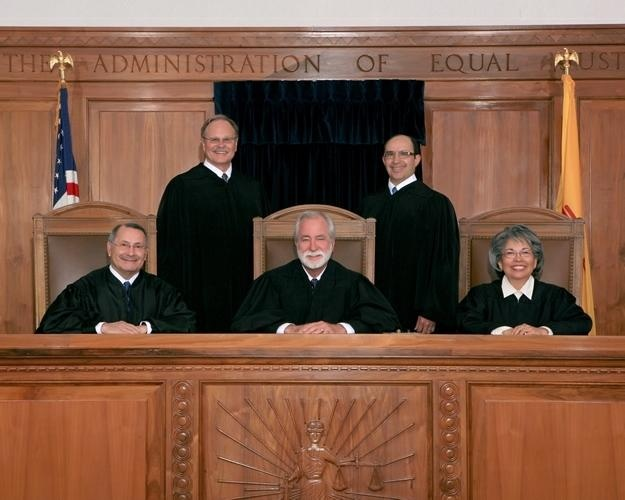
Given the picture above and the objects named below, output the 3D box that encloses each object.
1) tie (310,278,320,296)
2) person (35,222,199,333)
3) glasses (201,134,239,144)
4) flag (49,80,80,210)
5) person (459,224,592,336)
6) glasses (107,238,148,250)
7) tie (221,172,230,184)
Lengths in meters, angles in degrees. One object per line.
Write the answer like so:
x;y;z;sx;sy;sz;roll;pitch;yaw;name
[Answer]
0.019;0.241;7.764;0.061;0.096;0.023;-1;-22;10;tie
-1.334;-0.042;7.925;1.231;1.072;0.696;1;4;-20;person
-0.691;-0.836;8.695;0.256;0.090;0.124;-2;-1;-12;glasses
-1.956;-0.819;9.148;0.193;0.853;0.261;-2;0;-12;flag
1.394;0.289;7.962;0.945;1.236;0.712;-2;-5;6;person
-1.253;-0.035;7.836;0.259;0.057;0.130;-2;-1;-6;glasses
-0.652;-0.558;8.813;0.050;0.069;0.017;-4;-4;-27;tie
